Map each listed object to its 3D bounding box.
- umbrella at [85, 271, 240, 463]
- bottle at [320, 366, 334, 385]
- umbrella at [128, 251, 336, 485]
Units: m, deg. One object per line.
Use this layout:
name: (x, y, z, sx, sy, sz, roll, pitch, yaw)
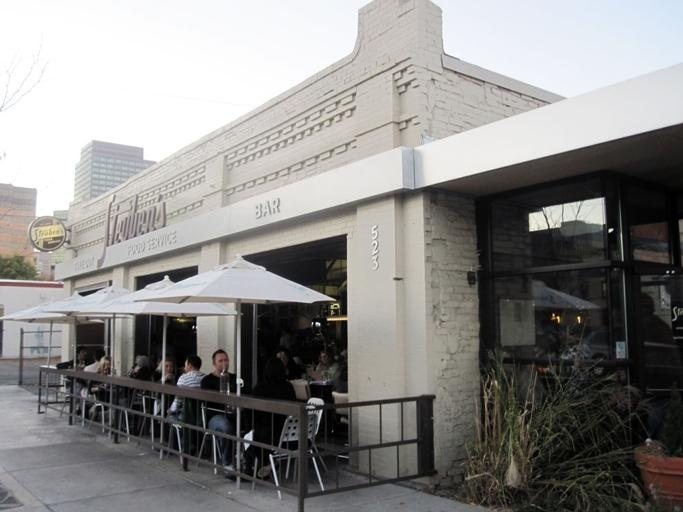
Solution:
umbrella: (-3.119, 1.677, 10.124, 2.354, 2.481, 2.471, 3, -5, -19)
bottle: (-0.272, 2.386, 11.186, 0.157, 0.385, 0.538, 0, -20, -6)
umbrella: (-1.600, 1.377, 8.801, 2.800, 2.724, 3.006, 1, -1, 17)
